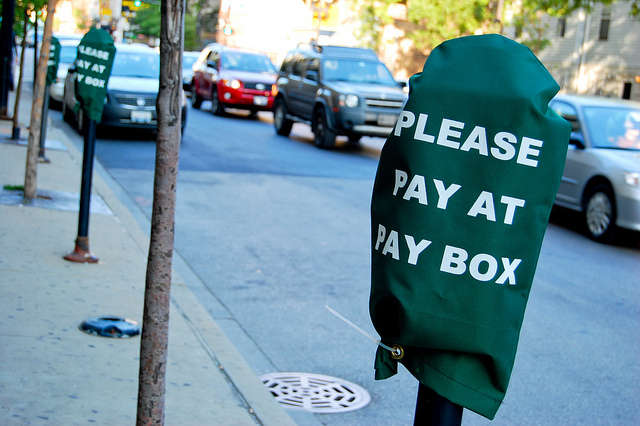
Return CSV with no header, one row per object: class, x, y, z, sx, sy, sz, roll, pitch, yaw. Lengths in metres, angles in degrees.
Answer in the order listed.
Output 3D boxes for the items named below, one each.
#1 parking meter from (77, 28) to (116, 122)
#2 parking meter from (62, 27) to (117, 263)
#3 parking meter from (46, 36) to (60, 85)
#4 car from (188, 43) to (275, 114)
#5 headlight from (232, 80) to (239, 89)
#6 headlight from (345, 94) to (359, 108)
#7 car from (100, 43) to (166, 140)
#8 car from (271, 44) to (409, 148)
parking meter,-2.311,-1.411,8.174,0.373,0.947,0.227,9,16,-16
parking meter,-2.371,-0.707,8.348,0.645,2.425,0.438,13,12,25
parking meter,-3.863,-2.233,11.591,0.172,0.710,0.081,17,14,37
car,-2.648,-4.197,25.047,2.315,1.969,3.747,5,12,-16
headlight,-2.425,-3.776,23.357,0.195,0.246,0.194,6,11,-8
headlight,0.738,-2.471,17.581,0.239,0.268,0.059,-2,4,0
car,-4.121,-2.805,17.609,1.690,1.727,3.744,-1,16,-21
car,0.524,-2.816,19.570,2.256,2.194,4.252,-2,8,-28
